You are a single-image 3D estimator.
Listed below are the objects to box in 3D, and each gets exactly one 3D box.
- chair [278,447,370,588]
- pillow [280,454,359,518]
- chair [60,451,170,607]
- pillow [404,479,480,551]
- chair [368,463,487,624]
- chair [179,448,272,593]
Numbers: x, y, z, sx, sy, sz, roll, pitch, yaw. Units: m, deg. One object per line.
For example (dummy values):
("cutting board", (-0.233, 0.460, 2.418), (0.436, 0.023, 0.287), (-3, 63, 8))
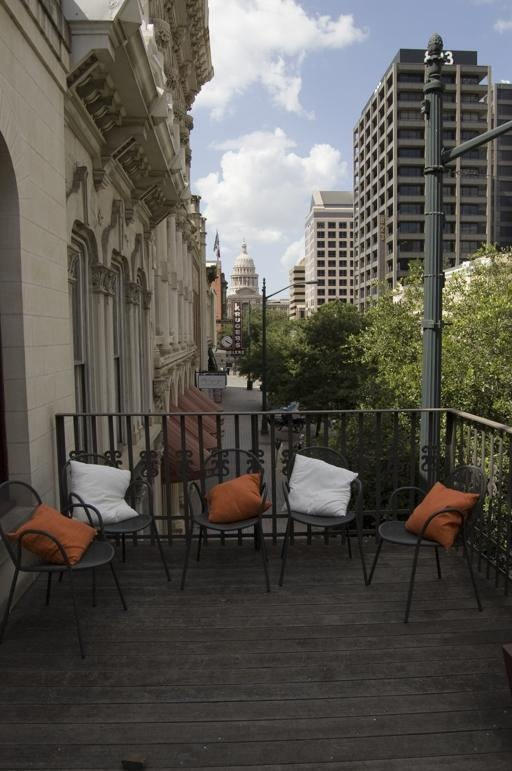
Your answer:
("chair", (0.543, 0.974, 5.515), (0.711, 1.367, 0.908), (2, -18, 2))
("pillow", (0.539, 0.799, 5.367), (0.554, 0.414, 0.505), (0, 4, 6))
("chair", (-1.202, 0.937, 5.435), (0.569, 0.909, 0.662), (1, -19, 20))
("pillow", (1.283, 0.959, 4.673), (0.423, 0.129, 0.448), (-41, 18, 35))
("chair", (1.232, 1.117, 4.876), (0.640, 1.103, 0.745), (5, 3, -3))
("chair", (-0.237, 1.072, 5.435), (0.792, 1.115, 0.828), (-5, 8, -32))
